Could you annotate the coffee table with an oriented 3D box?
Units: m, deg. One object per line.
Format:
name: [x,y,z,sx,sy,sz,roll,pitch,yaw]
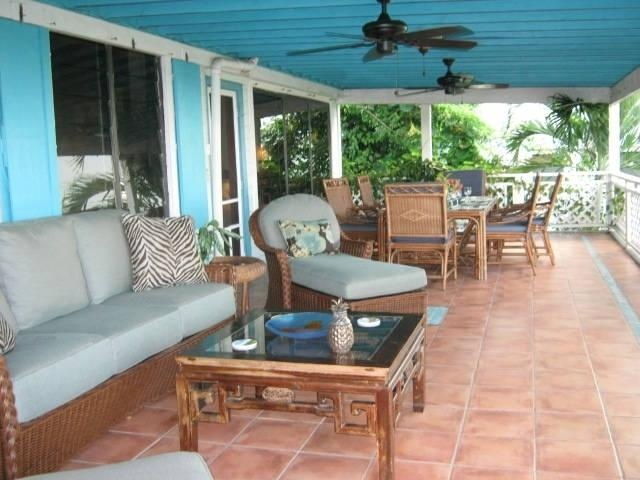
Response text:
coffee table: [-0.024,0.621,2.937,1.252,0.707,1.676,1,5,20]

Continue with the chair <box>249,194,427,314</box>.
chair: [0.040,0.271,4.512,1.388,1.240,1.417,0,8,-37]

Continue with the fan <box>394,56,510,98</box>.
fan: [2.026,-2.502,7.654,1.136,0.389,0.968,-7,16,-18]

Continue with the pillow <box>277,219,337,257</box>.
pillow: [-0.098,-0.018,4.898,0.589,0.331,0.154,-5,-10,-30]

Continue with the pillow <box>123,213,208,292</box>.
pillow: [-1.216,0.095,3.914,0.676,0.579,0.200,-3,-11,-38]

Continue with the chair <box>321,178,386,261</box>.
chair: [0.639,-0.353,7.476,0.920,1.264,0.902,6,9,27]
